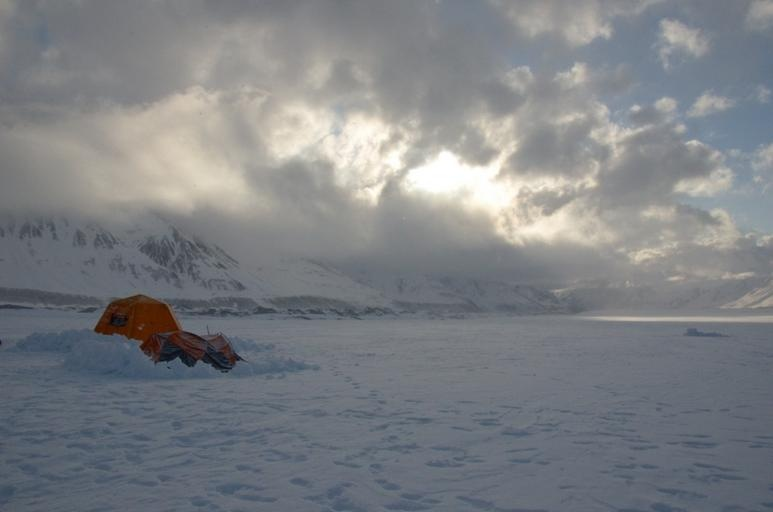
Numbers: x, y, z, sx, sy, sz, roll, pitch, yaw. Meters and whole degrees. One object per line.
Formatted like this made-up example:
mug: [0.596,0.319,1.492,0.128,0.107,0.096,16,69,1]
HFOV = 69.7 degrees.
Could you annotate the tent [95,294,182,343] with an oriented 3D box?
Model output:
tent: [-17.154,4.178,38.151,5.536,3.041,2.681,-2,-3,19]

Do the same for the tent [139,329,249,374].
tent: [-11.339,5.573,33.087,3.048,1.436,3.957,5,-6,42]
